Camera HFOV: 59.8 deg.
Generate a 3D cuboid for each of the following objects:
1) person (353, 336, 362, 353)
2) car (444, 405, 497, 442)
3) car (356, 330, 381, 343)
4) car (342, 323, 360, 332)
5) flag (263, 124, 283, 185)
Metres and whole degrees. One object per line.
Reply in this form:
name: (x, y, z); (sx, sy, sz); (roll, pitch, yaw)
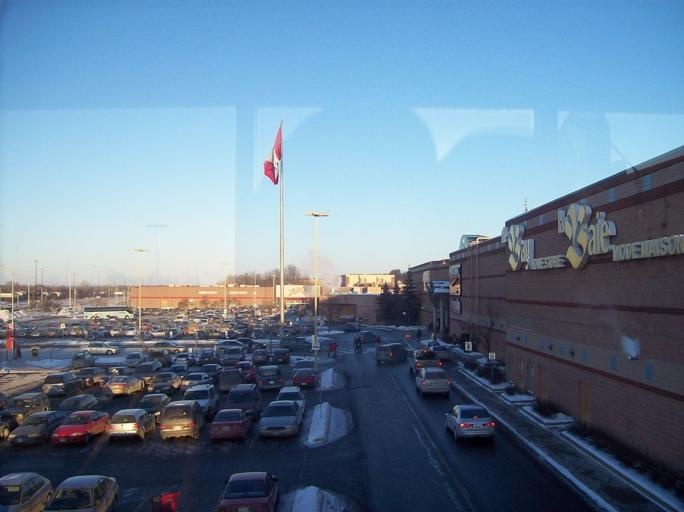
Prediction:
person: (1.611, 8.697, 58.387); (0.777, 1.503, 2.923); (-3, -5, 2)
car: (5.881, 7.646, 27.445); (1.024, 0.942, 2.417); (0, -1, 0)
car: (3.244, 9.232, 66.916); (2.357, 0.994, 1.382); (9, -12, -37)
car: (1.168, 10.052, 83.509); (1.861, 1.114, 1.044); (-2, 0, 38)
flag: (-5.827, -8.415, 50.336); (1.700, 0.513, 5.854); (-11, -42, -17)
